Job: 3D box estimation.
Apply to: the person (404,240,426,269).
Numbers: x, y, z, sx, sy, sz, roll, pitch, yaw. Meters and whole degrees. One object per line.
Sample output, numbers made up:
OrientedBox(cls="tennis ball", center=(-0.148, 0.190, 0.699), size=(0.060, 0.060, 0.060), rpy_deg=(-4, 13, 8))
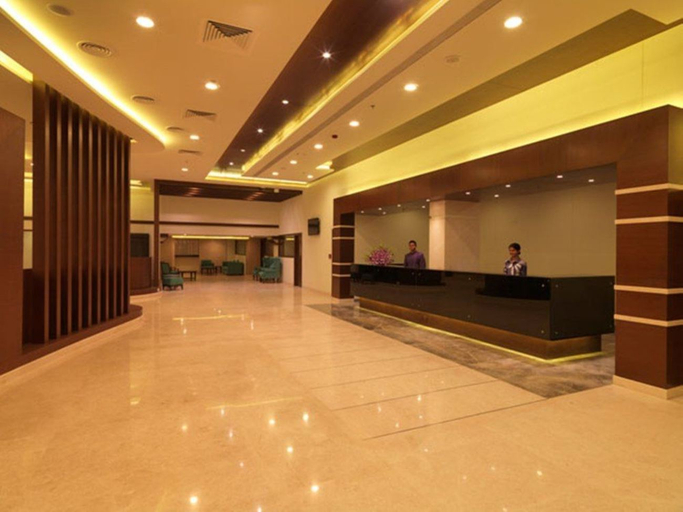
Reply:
OrientedBox(cls="person", center=(1.830, -0.013, 11.302), size=(0.264, 0.915, 0.610), rpy_deg=(7, -11, -36))

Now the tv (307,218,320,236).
OrientedBox(cls="tv", center=(-0.951, -0.981, 15.975), size=(0.184, 0.677, 0.946), rpy_deg=(-5, 14, -19))
